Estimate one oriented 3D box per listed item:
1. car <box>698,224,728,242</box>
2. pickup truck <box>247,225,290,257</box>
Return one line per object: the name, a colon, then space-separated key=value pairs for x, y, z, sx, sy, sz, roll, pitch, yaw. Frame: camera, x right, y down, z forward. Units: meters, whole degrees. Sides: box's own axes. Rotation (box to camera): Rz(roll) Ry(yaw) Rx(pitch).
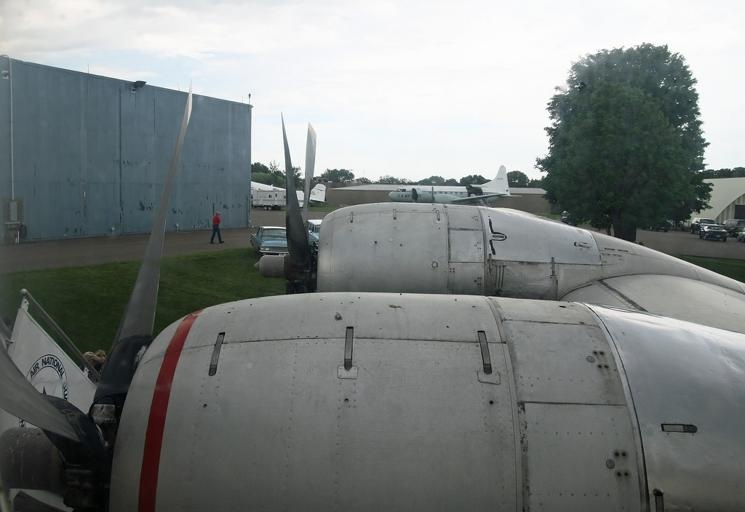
car: x=21.578 y=-1.480 z=37.694 sx=1.016 sy=0.780 sz=1.655 roll=0 pitch=-2 yaw=14
pickup truck: x=-3.858 y=-0.564 z=21.914 sx=1.308 sy=0.891 sz=2.349 roll=-1 pitch=8 yaw=-16
